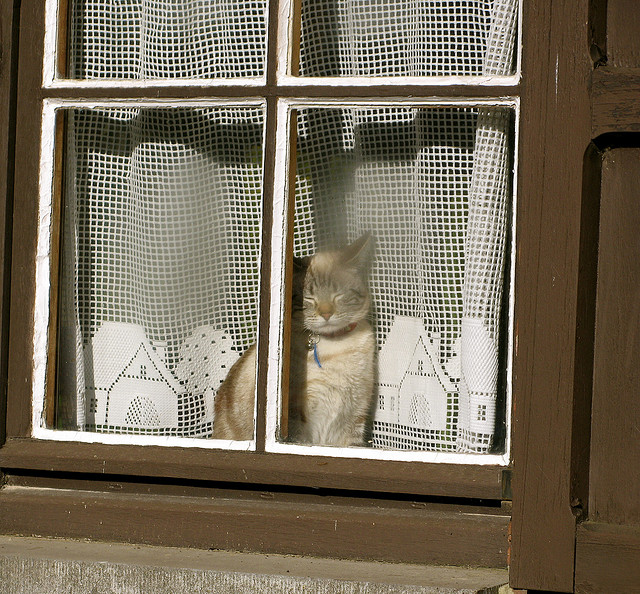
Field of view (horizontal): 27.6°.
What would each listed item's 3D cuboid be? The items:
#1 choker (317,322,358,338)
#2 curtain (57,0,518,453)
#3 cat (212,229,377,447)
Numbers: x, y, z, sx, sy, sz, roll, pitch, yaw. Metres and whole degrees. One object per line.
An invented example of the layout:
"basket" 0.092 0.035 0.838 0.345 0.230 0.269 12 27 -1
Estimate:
"choker" 0.042 0.067 2.562 0.042 0.011 0.041 -25 -30 28
"curtain" -0.070 -0.149 2.376 0.685 0.902 0.012 1 5 10
"cat" -0.011 0.153 2.649 0.251 0.435 0.509 -1 -17 -5
